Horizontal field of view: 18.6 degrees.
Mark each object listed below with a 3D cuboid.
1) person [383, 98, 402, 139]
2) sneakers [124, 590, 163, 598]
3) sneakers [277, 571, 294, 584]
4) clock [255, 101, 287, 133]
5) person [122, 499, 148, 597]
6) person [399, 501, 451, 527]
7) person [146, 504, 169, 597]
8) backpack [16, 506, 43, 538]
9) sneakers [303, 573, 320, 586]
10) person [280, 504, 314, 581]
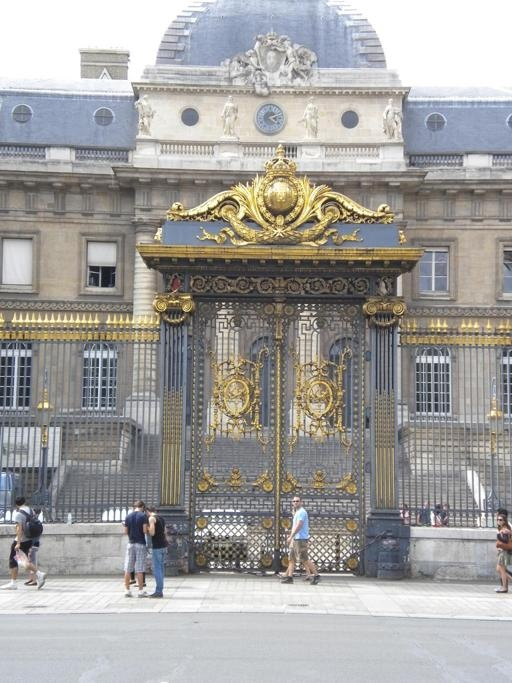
[{"bbox_3d":[4.159,-6.861,48.449,0.506,1.637,1.077,0,-10,2],"label":"person"},{"bbox_3d":[-1.528,3.426,20.983,0.592,0.091,0.215,-6,-12,34],"label":"sneakers"},{"bbox_3d":[0.395,3.414,22.374,0.240,0.112,0.094,1,-11,8],"label":"sneakers"},{"bbox_3d":[0.383,-7.057,49.261,0.902,0.942,0.225,-32,-12,6],"label":"clock"},{"bbox_3d":[-1.680,2.850,21.377,0.323,1.310,0.718,1,-10,-5],"label":"person"},{"bbox_3d":[2.494,2.591,23.260,0.737,0.374,0.956,0,-10,5],"label":"person"},{"bbox_3d":[-1.392,2.885,21.200,0.247,1.199,0.602,1,-10,-4],"label":"person"},{"bbox_3d":[-3.285,2.583,22.165,0.244,0.472,0.434,-19,-5,5],"label":"backpack"},{"bbox_3d":[0.776,3.439,22.499,0.247,0.184,0.091,-1,-12,8],"label":"sneakers"},{"bbox_3d":[0.594,2.880,22.492,0.533,1.217,0.778,0,-10,2],"label":"person"}]
